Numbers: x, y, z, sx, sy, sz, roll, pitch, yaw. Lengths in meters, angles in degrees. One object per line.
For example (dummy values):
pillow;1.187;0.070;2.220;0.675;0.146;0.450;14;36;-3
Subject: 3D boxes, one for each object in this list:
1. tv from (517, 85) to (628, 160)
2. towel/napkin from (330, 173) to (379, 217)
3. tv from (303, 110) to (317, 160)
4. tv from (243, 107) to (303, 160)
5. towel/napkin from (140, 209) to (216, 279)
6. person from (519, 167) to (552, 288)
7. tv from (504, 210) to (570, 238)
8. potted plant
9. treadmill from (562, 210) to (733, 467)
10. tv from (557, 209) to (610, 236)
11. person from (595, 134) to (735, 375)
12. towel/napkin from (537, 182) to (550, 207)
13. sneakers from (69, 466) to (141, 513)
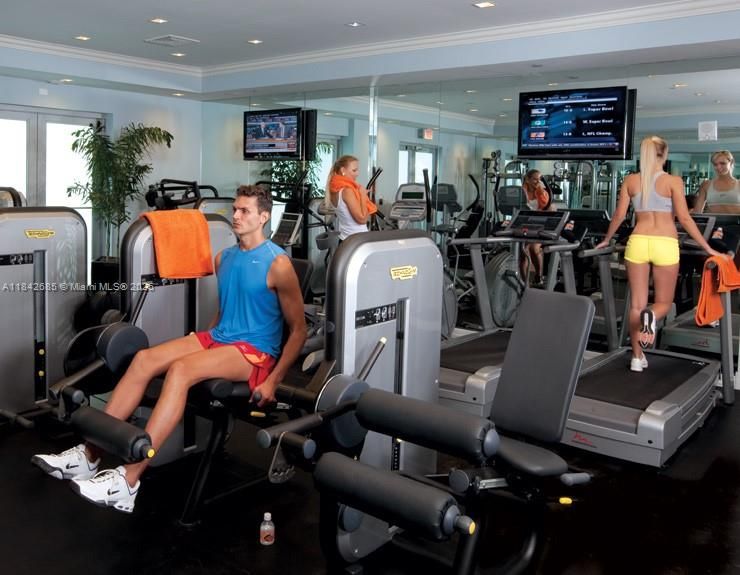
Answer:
tv;1.920;-1.562;5.077;1.056;0.634;0.111;12;24;39
towel/napkin;-0.148;-0.893;5.027;0.426;0.177;0.314;30;1;-23
tv;-0.753;-1.998;7.048;0.134;0.632;0.204;2;4;13
tv;-1.333;-2.063;7.236;0.960;0.673;0.071;6;8;25
towel/napkin;-1.056;-0.230;2.970;0.385;0.381;0.139;-10;7;-38
person;1.774;-0.612;5.761;0.385;1.333;0.346;7;10;29
tv;1.404;-0.529;4.443;0.541;0.056;0.383;1;33;32
potted plant;-3.653;-1.252;7.467;0.564;2.087;0.993;10;11;36
treadmill;1.979;0.332;3.739;1.441;0.652;2.554;4;11;39
tv;2.144;-0.653;5.214;0.462;0.325;0.168;10;19;34
person;2.039;-0.242;3.886;0.934;1.691;0.720;3;5;38
towel/napkin;1.791;-0.942;5.463;0.048;0.203;0.209;0;17;-16
sneakers;-1.083;0.829;2.191;0.121;0.174;0.289;-7;-30;32
